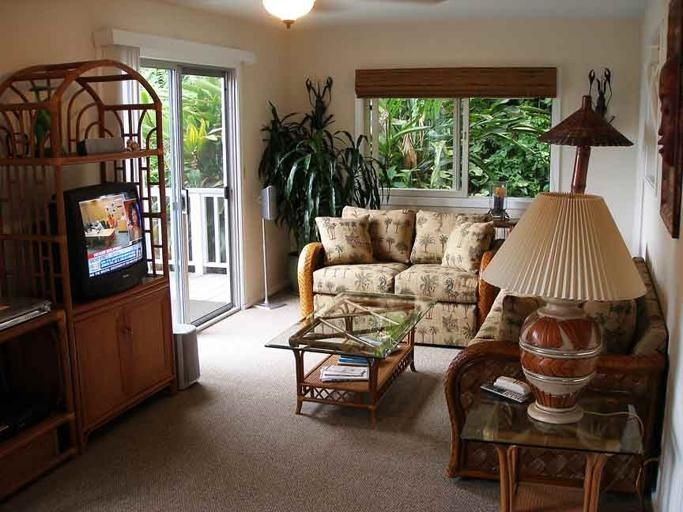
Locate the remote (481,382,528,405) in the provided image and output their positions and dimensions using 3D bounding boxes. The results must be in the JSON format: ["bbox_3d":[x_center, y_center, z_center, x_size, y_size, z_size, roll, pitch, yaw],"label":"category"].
[{"bbox_3d":[0.712,0.602,2.335,0.132,0.019,0.073,7,16,36],"label":"remote"}]

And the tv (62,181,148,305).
[{"bbox_3d":[-1.564,-0.127,3.460,0.344,0.674,0.656,5,12,11],"label":"tv"}]

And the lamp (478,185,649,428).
[{"bbox_3d":[0.940,0.217,2.262,0.597,0.930,0.640,-3,6,-26],"label":"lamp"}]

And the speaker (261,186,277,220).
[{"bbox_3d":[-0.749,-0.551,5.511,0.103,0.320,0.191,4,12,25],"label":"speaker"}]

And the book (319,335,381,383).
[{"bbox_3d":[0.022,0.742,3.574,0.328,0.124,0.358,1,14,5],"label":"book"}]

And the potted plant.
[{"bbox_3d":[-0.351,-1.152,6.852,1.759,2.831,1.645,0,9,9],"label":"potted plant"}]

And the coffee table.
[{"bbox_3d":[0.156,0.694,3.815,0.803,0.506,1.296,-1,7,26],"label":"coffee table"}]
